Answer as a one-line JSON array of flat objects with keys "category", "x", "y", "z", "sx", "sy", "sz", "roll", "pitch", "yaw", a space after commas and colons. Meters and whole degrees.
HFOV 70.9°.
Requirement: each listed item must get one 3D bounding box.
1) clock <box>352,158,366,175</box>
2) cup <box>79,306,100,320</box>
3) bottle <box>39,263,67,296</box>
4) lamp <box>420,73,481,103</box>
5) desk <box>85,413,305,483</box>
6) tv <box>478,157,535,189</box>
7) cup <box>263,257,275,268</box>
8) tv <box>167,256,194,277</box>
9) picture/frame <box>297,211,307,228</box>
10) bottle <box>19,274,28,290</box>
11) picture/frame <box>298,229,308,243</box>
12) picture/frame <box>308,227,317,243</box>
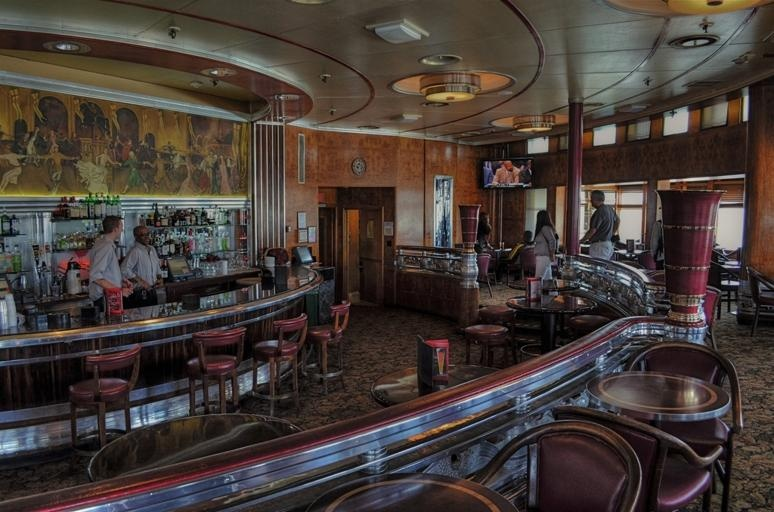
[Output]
[{"category": "clock", "x": -0.706, "y": -2.213, "z": 13.375, "sx": 0.425, "sy": 0.425, "sz": 0.067, "roll": -8, "pitch": 9, "yaw": -43}, {"category": "cup", "x": -3.436, "y": 0.650, "z": 6.246, "sx": 0.233, "sy": 0.143, "sz": 0.101, "roll": 1, "pitch": 8, "yaw": -8}, {"category": "bottle", "x": -5.009, "y": 0.348, "z": 8.118, "sx": 0.274, "sy": 0.444, "sz": 0.441, "roll": -3, "pitch": 6, "yaw": -2}, {"category": "lamp", "x": 1.044, "y": -2.755, "z": 8.982, "sx": 0.695, "sy": 0.186, "sz": 0.558, "roll": 0, "pitch": 0, "yaw": 3}, {"category": "desk", "x": -1.554, "y": 1.457, "z": 4.330, "sx": 1.476, "sy": 0.202, "sz": 0.587, "roll": -3, "pitch": 5, "yaw": -17}, {"category": "tv", "x": 3.407, "y": -2.333, "z": 15.199, "sx": 1.350, "sy": 0.570, "sz": 0.163, "roll": 2, "pitch": 6, "yaw": 29}, {"category": "cup", "x": -2.051, "y": 0.061, "z": 9.316, "sx": 0.232, "sy": 0.141, "sz": 0.086, "roll": 1, "pitch": 8, "yaw": 25}, {"category": "tv", "x": -3.670, "y": 0.178, "z": 9.511, "sx": 0.226, "sy": 0.333, "sz": 0.402, "roll": -31, "pitch": -11, "yaw": 27}, {"category": "picture/frame", "x": -1.949, "y": -0.841, "z": 12.315, "sx": 0.042, "sy": 0.393, "sz": 0.285, "roll": 4, "pitch": 9, "yaw": 42}, {"category": "bottle", "x": -5.261, "y": 0.355, "z": 7.844, "sx": 0.055, "sy": 0.208, "sz": 0.158, "roll": -4, "pitch": 7, "yaw": -7}, {"category": "picture/frame", "x": -1.928, "y": -0.466, "z": 12.338, "sx": 0.044, "sy": 0.331, "sz": 0.260, "roll": 3, "pitch": 9, "yaw": 41}, {"category": "picture/frame", "x": -1.727, "y": -0.514, "z": 12.516, "sx": 0.073, "sy": 0.387, "sz": 0.273, "roll": 1, "pitch": 8, "yaw": 31}]
